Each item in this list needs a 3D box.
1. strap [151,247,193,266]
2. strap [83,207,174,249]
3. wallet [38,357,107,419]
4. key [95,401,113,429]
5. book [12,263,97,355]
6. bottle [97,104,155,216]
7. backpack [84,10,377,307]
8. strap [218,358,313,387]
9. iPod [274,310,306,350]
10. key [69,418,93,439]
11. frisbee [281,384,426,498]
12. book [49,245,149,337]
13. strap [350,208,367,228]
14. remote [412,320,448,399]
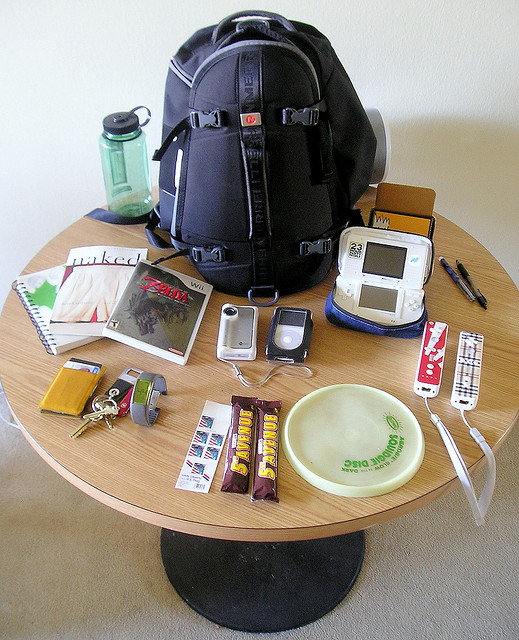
[{"bbox_3d":[-0.149,-0.114,0.930,0.053,0.016,0.038,-22,5,3],"label":"strap"},{"bbox_3d":[-0.254,-0.175,1.042,0.083,0.041,0.093,17,40,23],"label":"strap"},{"bbox_3d":[-0.268,0.096,0.774,0.066,0.021,0.091,8,47,8],"label":"wallet"},{"bbox_3d":[-0.212,0.129,0.741,0.023,0.035,0.013,-12,-1,10],"label":"key"},{"bbox_3d":[-0.347,-0.021,0.898,0.093,0.075,0.204,-14,30,-26],"label":"book"},{"bbox_3d":[-0.265,-0.323,1.095,0.109,0.244,0.083,-30,64,-25],"label":"bottle"},{"bbox_3d":[-0.015,-0.261,0.989,0.375,0.508,0.369,7,49,4],"label":"backpack"},{"bbox_3d":[0.013,0.073,0.792,0.128,0.006,0.042,-1,42,-7],"label":"strap"},{"bbox_3d":[0.049,0.009,0.844,0.051,0.113,0.012,6,47,-1],"label":"iPod"},{"bbox_3d":[-0.241,0.145,0.731,0.010,0.010,0.039,34,35,4],"label":"key"},{"bbox_3d":[0.127,0.155,0.723,0.199,0.022,0.197,-19,36,-21],"label":"frisbee"},{"bbox_3d":[-0.286,-0.063,0.917,0.124,0.038,0.165,4,48,4],"label":"book"},{"bbox_3d":[0.176,-0.186,0.980,0.022,0.036,0.036,-3,25,7],"label":"strap"},{"bbox_3d":[0.254,0.060,0.799,0.041,0.027,0.140,11,62,15],"label":"remote"}]
